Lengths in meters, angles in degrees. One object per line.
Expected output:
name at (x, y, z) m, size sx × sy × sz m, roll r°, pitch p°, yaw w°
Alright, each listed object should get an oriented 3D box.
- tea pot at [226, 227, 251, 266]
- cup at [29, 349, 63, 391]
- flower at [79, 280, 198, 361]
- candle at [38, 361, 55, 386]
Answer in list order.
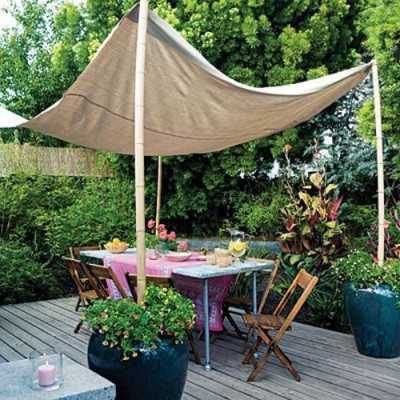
tea pot at (0.362, 0.419, 3.955) m, size 0.261 × 0.299 × 0.174 m, roll -1°, pitch 5°, yaw -17°
cup at (-0.699, 0.753, 1.942) m, size 0.193 × 0.153 × 0.134 m, roll 2°, pitch -4°, yaw -25°
flower at (-0.394, 0.665, 2.454) m, size 0.439 × 0.239 × 0.443 m, roll 9°, pitch 12°, yaw 38°
candle at (-0.687, 0.787, 1.913) m, size 0.078 × 0.069 × 0.077 m, roll 0°, pitch 0°, yaw 17°
